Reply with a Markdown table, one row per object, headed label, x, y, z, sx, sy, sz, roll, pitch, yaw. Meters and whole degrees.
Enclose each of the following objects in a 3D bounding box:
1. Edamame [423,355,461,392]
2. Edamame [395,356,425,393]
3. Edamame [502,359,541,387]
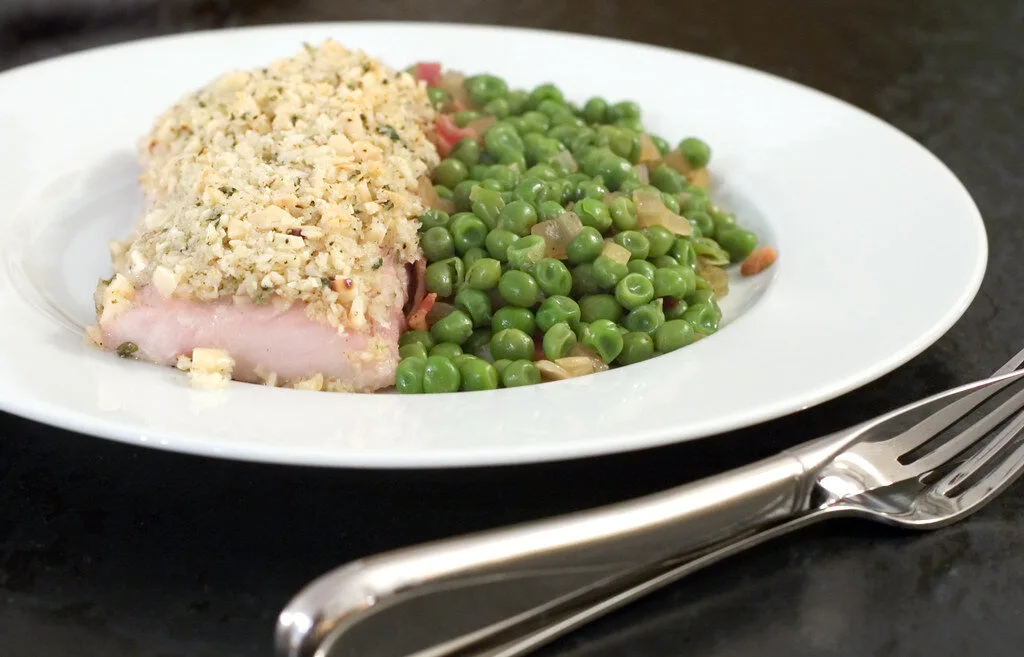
| label | x | y | z | sx | sy | sz | roll | pitch | yaw |
| --- | --- | --- | --- | --- | --- | --- | --- | --- | --- |
| Edamame | -0.258 | 0.175 | 3.820 | 0.128 | 0.125 | 0.124 | -3 | 31 | -4 |
| Edamame | -0.378 | 0.180 | 3.851 | 0.097 | 0.072 | 0.129 | 6 | 42 | 2 |
| Edamame | 0.032 | 0.171 | 3.897 | 0.112 | 0.104 | 0.105 | 14 | 19 | -19 |
